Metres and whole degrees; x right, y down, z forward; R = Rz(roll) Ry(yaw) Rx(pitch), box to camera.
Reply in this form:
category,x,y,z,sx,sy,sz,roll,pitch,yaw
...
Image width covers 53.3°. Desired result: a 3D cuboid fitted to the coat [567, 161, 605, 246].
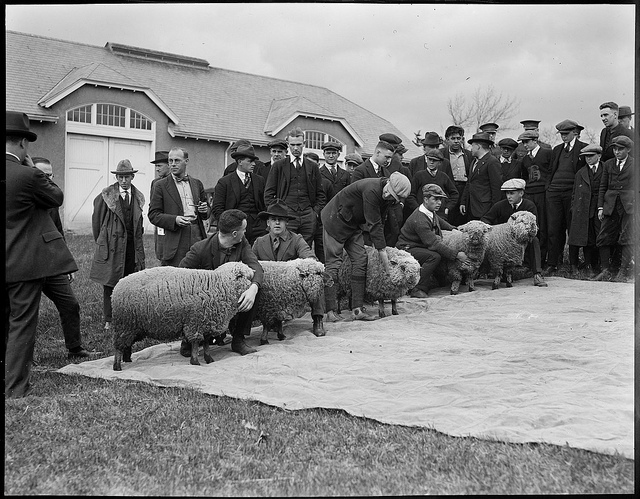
category,x,y,z,sx,sy,sz,roll,pitch,yaw
coat,5.398,-0.870,13.180,0.377,1.632,0.323,6,16,21

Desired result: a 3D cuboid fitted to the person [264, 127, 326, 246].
category,x,y,z,sx,sy,sz,roll,pitch,yaw
person,-0.452,-1.107,11.596,0.721,2.068,1.413,11,18,34

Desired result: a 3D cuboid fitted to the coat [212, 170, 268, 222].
category,x,y,z,sx,sy,sz,roll,pitch,yaw
coat,-1.353,-0.867,10.752,1.126,0.973,0.596,-3,2,-28

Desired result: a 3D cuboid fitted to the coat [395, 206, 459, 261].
category,x,y,z,sx,sy,sz,roll,pitch,yaw
coat,2.119,-0.403,12.399,1.295,0.891,1.557,1,20,9

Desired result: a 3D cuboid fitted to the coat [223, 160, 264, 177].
category,x,y,z,sx,sy,sz,roll,pitch,yaw
coat,-1.603,-1.596,12.517,0.541,0.163,0.631,-10,-1,21

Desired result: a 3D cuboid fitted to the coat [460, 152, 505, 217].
category,x,y,z,sx,sy,sz,roll,pitch,yaw
coat,3.552,-1.346,13.749,0.388,1.335,0.879,-13,20,-40

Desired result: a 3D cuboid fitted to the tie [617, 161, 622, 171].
category,x,y,z,sx,sy,sz,roll,pitch,yaw
tie,5.845,-1.609,12.444,0.050,0.176,0.134,13,9,30

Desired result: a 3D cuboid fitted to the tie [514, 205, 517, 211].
category,x,y,z,sx,sy,sz,roll,pitch,yaw
tie,3.948,-0.842,12.886,0.059,0.106,0.057,-1,0,-21

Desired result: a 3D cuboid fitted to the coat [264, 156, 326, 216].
category,x,y,z,sx,sy,sz,roll,pitch,yaw
coat,-0.321,-1.092,11.644,0.545,0.962,1.029,-9,3,26

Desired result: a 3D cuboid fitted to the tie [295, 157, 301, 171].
category,x,y,z,sx,sy,sz,roll,pitch,yaw
tie,-0.420,-1.539,11.636,0.083,0.212,0.057,-5,-22,-3

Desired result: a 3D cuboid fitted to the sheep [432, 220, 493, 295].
category,x,y,z,sx,sy,sz,roll,pitch,yaw
sheep,2.730,0.158,12.544,0.721,1.418,1.807,0,5,-17

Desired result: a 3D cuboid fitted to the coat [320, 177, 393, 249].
category,x,y,z,sx,sy,sz,roll,pitch,yaw
coat,0.673,-0.667,10.724,1.228,1.167,0.863,13,19,24

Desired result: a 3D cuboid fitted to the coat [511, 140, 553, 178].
category,x,y,z,sx,sy,sz,roll,pitch,yaw
coat,4.848,-2.128,14.976,0.353,0.725,0.975,-17,13,-43

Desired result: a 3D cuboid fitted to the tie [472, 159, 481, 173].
category,x,y,z,sx,sy,sz,roll,pitch,yaw
tie,3.387,-1.815,13.942,0.058,0.221,0.170,25,16,30

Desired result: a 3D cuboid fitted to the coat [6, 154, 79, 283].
category,x,y,z,sx,sy,sz,roll,pitch,yaw
coat,-3.549,-0.386,7.877,0.834,1.529,0.551,-9,17,-30

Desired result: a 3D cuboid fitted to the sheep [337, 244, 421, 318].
category,x,y,z,sx,sy,sz,roll,pitch,yaw
sheep,0.961,0.539,10.927,1.683,1.214,0.820,5,9,40

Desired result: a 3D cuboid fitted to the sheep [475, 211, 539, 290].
category,x,y,z,sx,sy,sz,roll,pitch,yaw
sheep,3.612,0.080,12.763,0.717,1.432,1.810,5,-8,-29

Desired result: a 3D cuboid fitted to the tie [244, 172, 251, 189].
category,x,y,z,sx,sy,sz,roll,pitch,yaw
tie,-1.271,-1.164,10.942,0.170,0.185,0.055,6,-13,-9
